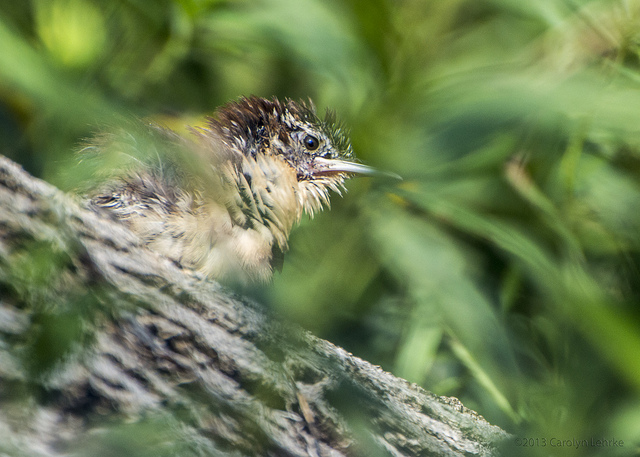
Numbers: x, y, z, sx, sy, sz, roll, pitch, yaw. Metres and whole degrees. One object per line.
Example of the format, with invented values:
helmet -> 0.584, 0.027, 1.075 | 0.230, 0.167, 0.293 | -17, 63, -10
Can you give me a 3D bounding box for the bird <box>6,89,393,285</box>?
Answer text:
bird -> -0.403, -0.207, 3.135 | 1.279, 0.608, 0.425 | 16, 24, -14
